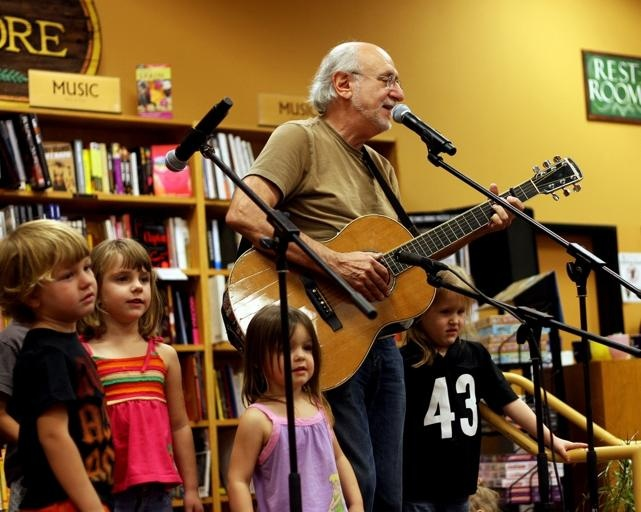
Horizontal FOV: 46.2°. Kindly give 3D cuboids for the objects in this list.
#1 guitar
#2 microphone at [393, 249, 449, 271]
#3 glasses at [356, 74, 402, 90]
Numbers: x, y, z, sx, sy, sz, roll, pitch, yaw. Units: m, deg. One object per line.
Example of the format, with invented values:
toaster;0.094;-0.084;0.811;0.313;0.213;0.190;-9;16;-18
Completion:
guitar;0.365;-0.062;2.994;1.737;0.682;0.184;-33;2;-31
microphone;0.330;0.013;2.544;0.174;0.032;0.039;14;-23;-39
glasses;0.234;-0.704;2.936;0.132;0.021;0.071;21;21;9
